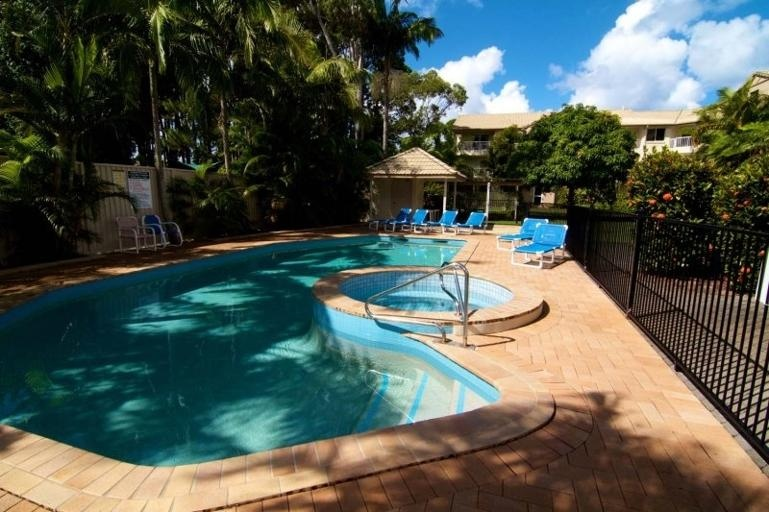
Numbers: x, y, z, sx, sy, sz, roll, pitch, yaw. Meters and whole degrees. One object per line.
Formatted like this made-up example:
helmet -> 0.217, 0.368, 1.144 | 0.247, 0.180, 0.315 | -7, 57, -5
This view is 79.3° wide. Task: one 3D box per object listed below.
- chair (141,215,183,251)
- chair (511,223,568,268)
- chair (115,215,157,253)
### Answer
chair -> -6.917, -0.773, 14.261 | 1.005, 1.142, 0.957 | -5, 9, 4
chair -> 4.454, -0.346, 13.540 | 1.997, 1.329, 1.180 | -13, 13, -43
chair -> -7.362, -0.660, 13.713 | 0.831, 1.014, 0.848 | 1, 8, 2
